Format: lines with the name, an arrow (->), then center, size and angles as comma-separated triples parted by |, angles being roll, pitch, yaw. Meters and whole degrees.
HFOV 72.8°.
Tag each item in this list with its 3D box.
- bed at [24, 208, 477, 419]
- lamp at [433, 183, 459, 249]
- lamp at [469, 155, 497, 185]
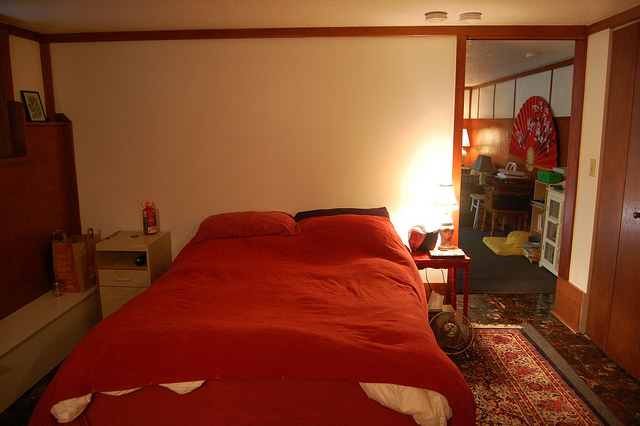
bed -> -0.307, 0.713, 3.650 | 2.700, 1.035, 1.945 | -1, 10, 2
lamp -> 1.377, 0.052, 4.695 | 0.305, 0.695, 0.298 | 0, -1, 5
lamp -> 3.086, -0.825, 8.288 | 0.561, 0.720, 0.513 | 0, 10, 3
